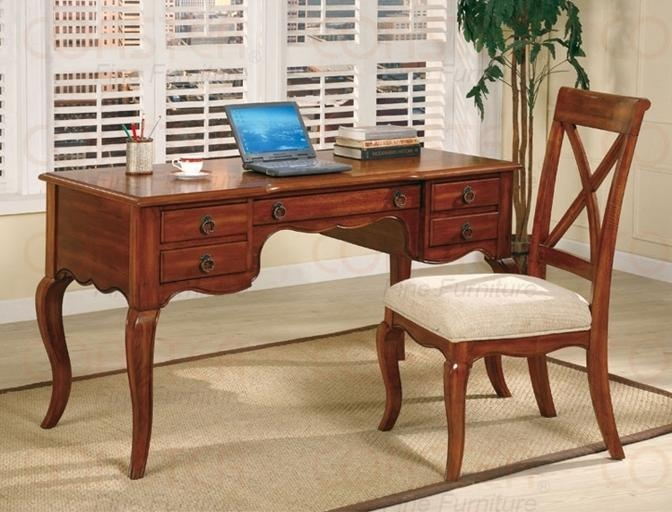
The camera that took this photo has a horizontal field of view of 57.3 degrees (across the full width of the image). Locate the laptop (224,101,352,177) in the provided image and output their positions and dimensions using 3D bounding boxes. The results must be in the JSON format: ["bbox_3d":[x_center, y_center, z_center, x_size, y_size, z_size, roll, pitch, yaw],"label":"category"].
[{"bbox_3d":[-0.194,-0.432,2.279,0.388,0.241,0.406,-13,27,-35],"label":"laptop"}]

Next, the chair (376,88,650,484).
[{"bbox_3d":[0.575,0.049,2.066,0.793,1.219,0.564,-3,16,-14],"label":"chair"}]
